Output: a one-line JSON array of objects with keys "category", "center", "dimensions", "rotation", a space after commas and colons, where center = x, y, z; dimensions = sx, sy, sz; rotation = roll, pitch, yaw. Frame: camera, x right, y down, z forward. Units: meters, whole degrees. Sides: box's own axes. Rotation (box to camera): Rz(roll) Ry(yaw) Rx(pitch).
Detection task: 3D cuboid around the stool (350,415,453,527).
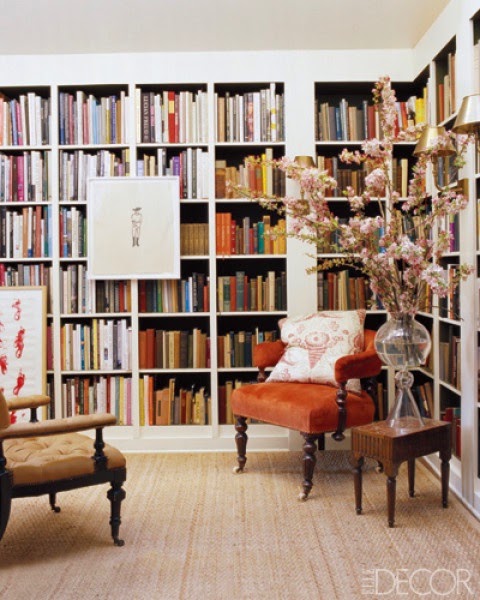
[{"category": "stool", "center": [0.798, 0.678, 3.176], "dimensions": [0.572, 0.605, 0.384], "rotation": [-1, 0, -38]}]
